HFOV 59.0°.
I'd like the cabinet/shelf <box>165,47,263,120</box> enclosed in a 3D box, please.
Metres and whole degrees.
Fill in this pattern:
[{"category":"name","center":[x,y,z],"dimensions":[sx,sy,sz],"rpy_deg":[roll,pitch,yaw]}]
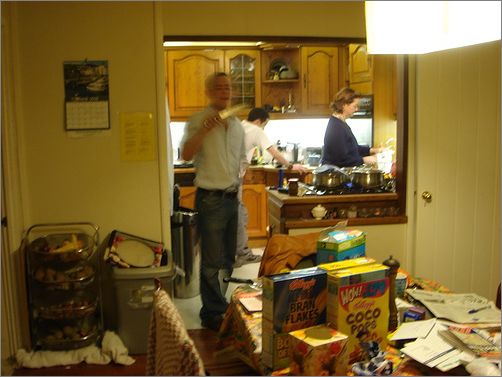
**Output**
[{"category":"cabinet/shelf","center":[-0.505,-1.290,5.309],"dimensions":[1.290,1.124,0.462],"rpy_deg":[-1,6,-6]}]

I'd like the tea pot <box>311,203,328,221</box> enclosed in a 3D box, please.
[{"category":"tea pot","center":[0.537,0.192,3.497],"dimensions":[0.111,0.111,0.113],"rpy_deg":[0,2,0]}]

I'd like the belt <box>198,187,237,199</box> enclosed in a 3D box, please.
[{"category":"belt","center":[-0.264,0.043,3.395],"dimensions":[0.310,0.119,0.158],"rpy_deg":[-4,8,-9]}]

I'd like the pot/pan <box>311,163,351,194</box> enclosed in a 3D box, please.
[{"category":"pot/pan","center":[0.671,-0.074,3.737],"dimensions":[0.296,0.162,0.179],"rpy_deg":[1,6,-8]}]

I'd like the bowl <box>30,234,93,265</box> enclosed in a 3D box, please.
[{"category":"bowl","center":[-1.326,0.421,3.094],"dimensions":[0.386,0.146,0.386],"rpy_deg":[3,9,0]}]

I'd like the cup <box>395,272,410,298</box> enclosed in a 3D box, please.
[{"category":"cup","center":[0.651,0.420,1.925],"dimensions":[0.066,0.077,0.106],"rpy_deg":[-1,12,3]}]

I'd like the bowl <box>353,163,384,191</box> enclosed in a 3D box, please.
[{"category":"bowl","center":[0.999,-0.092,3.801],"dimensions":[0.286,0.167,0.315],"rpy_deg":[5,17,33]}]

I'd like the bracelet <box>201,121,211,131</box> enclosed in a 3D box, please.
[{"category":"bracelet","center":[-0.315,-0.448,3.173],"dimensions":[0.050,0.069,0.056],"rpy_deg":[-5,8,-14]}]

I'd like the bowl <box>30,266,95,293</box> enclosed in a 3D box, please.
[{"category":"bowl","center":[-1.364,0.632,3.074],"dimensions":[0.320,0.091,0.331],"rpy_deg":[10,-1,0]}]

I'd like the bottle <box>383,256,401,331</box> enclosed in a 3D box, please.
[{"category":"bottle","center":[0.563,0.403,1.770],"dimensions":[0.058,0.289,0.308],"rpy_deg":[0,8,21]}]

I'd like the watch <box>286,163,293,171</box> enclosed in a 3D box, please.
[{"category":"watch","center":[0.408,-0.227,4.685],"dimensions":[0.049,0.048,0.050],"rpy_deg":[-3,10,-23]}]
